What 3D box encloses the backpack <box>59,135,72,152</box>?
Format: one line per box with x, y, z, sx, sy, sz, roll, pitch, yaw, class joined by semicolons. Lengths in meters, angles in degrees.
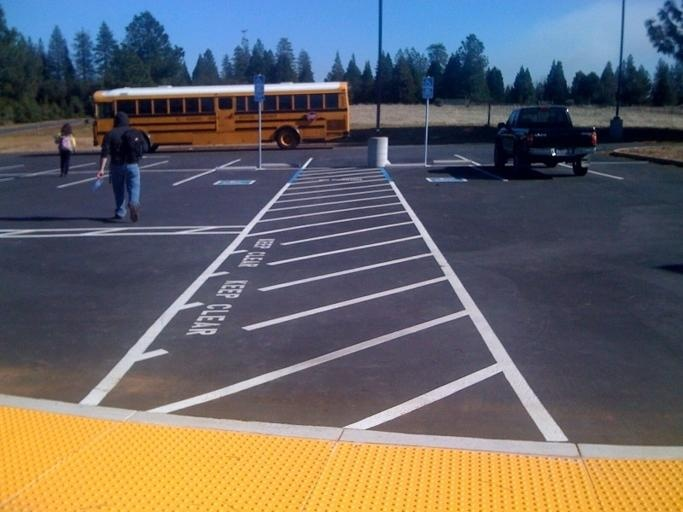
-10.579;-4.325;21.775;0.427;0.334;0.636;15;28;-33;backpack

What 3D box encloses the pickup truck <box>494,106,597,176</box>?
7.125;-4.011;19.996;2.543;2.481;3.040;0;18;2;pickup truck

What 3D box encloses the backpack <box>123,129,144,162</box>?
-4.351;-2.327;11.843;0.362;0.750;0.504;5;12;19;backpack
